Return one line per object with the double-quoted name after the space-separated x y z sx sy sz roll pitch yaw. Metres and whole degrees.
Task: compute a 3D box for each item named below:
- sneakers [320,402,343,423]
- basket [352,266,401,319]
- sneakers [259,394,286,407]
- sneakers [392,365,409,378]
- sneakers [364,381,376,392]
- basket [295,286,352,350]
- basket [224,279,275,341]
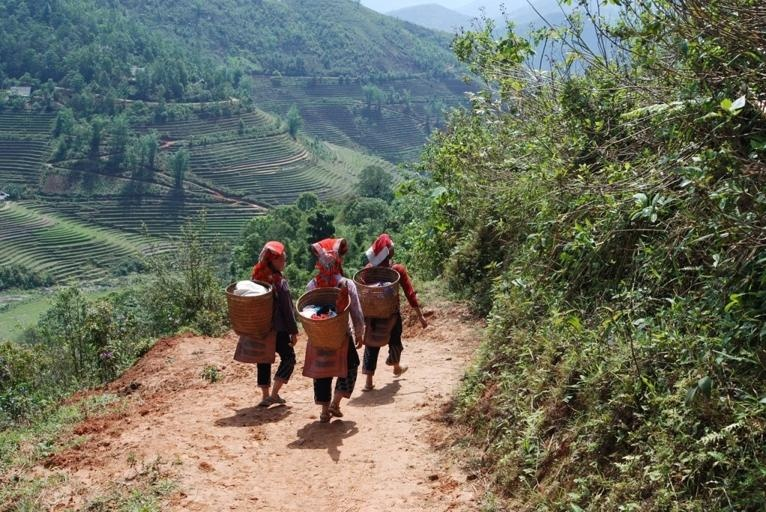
-0.580 1.756 7.171 0.118 0.150 0.350 1 -6 13 "sneakers"
-0.105 0.407 8.081 0.668 0.504 0.581 -4 3 -27 "basket"
-1.311 1.697 7.517 0.331 0.166 0.120 -2 -6 -25 "sneakers"
0.221 1.512 8.435 0.092 0.103 0.238 6 7 26 "sneakers"
-0.174 1.636 8.083 0.152 0.114 0.132 -4 12 -9 "sneakers"
-0.640 0.715 7.048 0.593 0.494 0.645 -6 17 -7 "basket"
-1.621 0.585 7.342 0.584 0.618 0.597 3 6 43 "basket"
